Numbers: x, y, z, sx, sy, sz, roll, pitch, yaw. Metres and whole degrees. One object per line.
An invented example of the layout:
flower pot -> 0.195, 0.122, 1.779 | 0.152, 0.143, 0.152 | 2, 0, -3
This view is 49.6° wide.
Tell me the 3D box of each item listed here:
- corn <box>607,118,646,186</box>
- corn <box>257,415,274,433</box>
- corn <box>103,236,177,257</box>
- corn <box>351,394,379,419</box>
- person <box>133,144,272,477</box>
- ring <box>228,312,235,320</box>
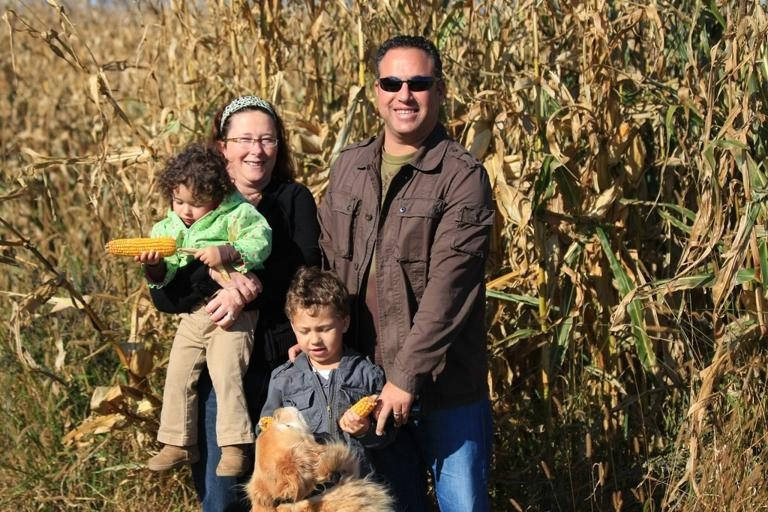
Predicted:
corn -> 1.712, -0.741, 5.981 | 0.174, 0.656, 0.287 | 0, 35, 6
corn -> -0.662, 0.937, 4.660 | 0.076, 0.108, 0.039 | -6, -20, 42
corn -> -1.494, -0.070, 5.144 | 0.416, 0.141, 0.143 | -2, 49, -3
corn -> -0.107, 0.829, 4.662 | 0.157, 0.071, 0.090 | -20, 50, -1
person -> -1.044, 0.318, 5.239 | 0.679, 2.185, 1.038 | 1, -3, -1
ring -> -0.894, 0.352, 4.930 | 0.018, 0.048, 0.041 | 5, 11, 34
